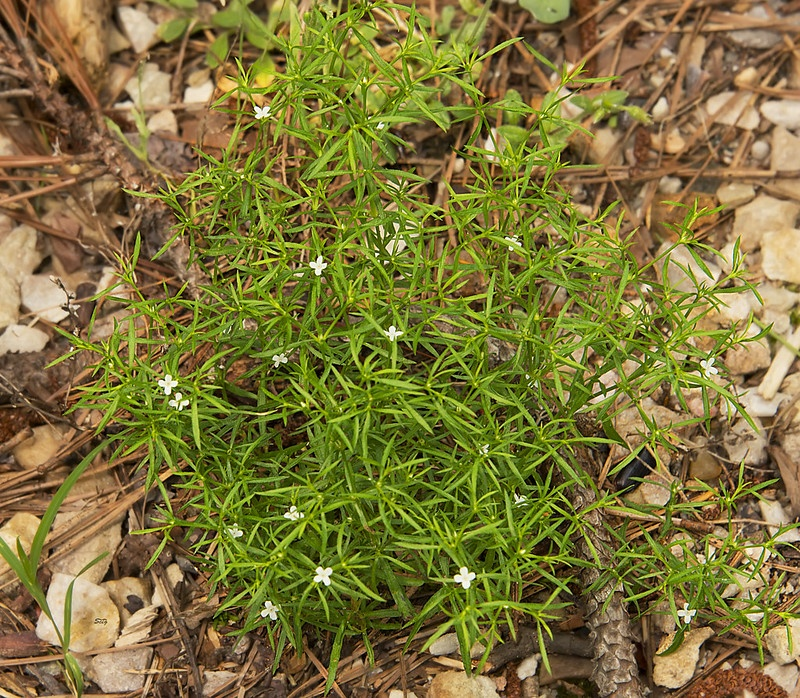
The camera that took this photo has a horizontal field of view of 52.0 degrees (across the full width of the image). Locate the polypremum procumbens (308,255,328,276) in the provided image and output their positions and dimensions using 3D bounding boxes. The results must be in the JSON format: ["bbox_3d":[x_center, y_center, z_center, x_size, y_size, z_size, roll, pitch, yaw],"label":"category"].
[{"bbox_3d":[-0.368,-0.369,3.686,0.105,0.026,0.121,0,102,0],"label":"polypremum procumbens"}]

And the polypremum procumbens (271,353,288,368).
[{"bbox_3d":[-0.575,0.054,3.893,0.070,0.071,0.021,49,43,-20],"label":"polypremum procumbens"}]

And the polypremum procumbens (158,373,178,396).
[{"bbox_3d":[-1.004,0.159,3.548,0.088,0.023,0.089,5,89,2],"label":"polypremum procumbens"}]

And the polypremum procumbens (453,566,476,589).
[{"bbox_3d":[0.270,0.954,3.420,0.103,0.032,0.105,5,81,2],"label":"polypremum procumbens"}]
